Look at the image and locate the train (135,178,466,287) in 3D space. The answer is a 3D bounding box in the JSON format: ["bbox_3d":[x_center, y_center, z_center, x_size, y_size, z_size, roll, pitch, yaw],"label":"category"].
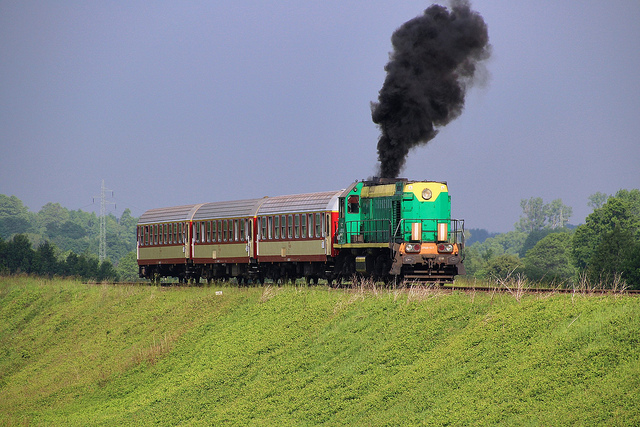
[{"bbox_3d":[-3.359,1.684,45.068,4.800,6.371,29.466,4,-8,-39],"label":"train"}]
